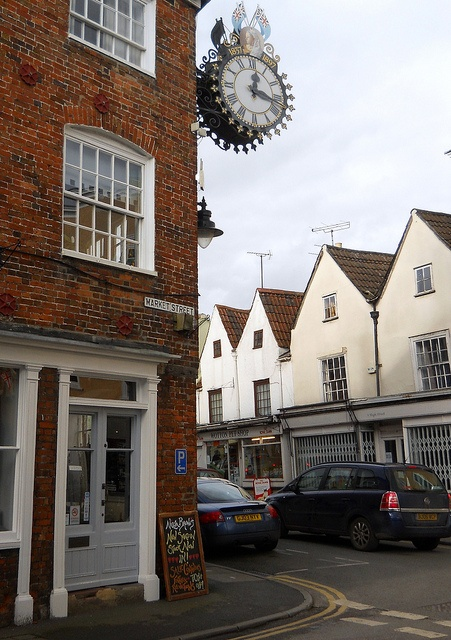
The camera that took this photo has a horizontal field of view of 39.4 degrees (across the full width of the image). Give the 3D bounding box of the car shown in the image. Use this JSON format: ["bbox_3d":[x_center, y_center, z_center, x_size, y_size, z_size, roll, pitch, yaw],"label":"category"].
[{"bbox_3d":[-0.034,3.585,11.614,0.888,0.691,2.037,1,-7,-17],"label":"car"}]

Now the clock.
[{"bbox_3d":[0.201,-4.190,10.759,1.648,2.475,0.624,3,-16,-30],"label":"clock"}]
